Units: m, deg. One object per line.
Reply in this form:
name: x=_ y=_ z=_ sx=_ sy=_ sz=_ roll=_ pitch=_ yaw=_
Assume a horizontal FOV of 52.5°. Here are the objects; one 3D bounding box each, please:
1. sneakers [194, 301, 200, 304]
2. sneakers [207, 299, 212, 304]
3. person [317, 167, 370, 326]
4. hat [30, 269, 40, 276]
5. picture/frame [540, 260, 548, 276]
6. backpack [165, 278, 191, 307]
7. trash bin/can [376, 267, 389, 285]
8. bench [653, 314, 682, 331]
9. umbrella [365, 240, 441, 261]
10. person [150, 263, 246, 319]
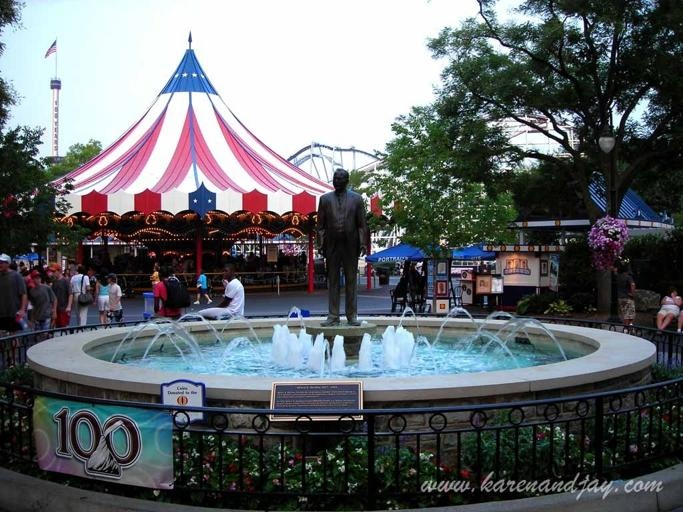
sneakers: x=-5.806 y=1.870 z=27.871 sx=0.130 sy=0.154 sz=0.343 roll=0 pitch=3 yaw=-37
sneakers: x=-5.459 y=1.878 z=28.687 sx=0.091 sy=0.182 sz=0.185 roll=-5 pitch=-42 yaw=-1
person: x=0.025 y=-0.152 z=12.116 sx=0.863 sy=2.711 sz=0.958 roll=-2 pitch=-2 yaw=2
hat: x=-6.088 y=0.333 z=13.824 sx=0.156 sy=0.087 sz=0.218 roll=0 pitch=3 yaw=-36
picture/frame: x=7.419 y=0.412 z=25.408 sx=0.392 sy=0.567 sz=0.124 roll=-1 pitch=-2 yaw=-28
backpack: x=-3.069 y=0.673 z=13.076 sx=0.235 sy=0.613 sz=0.484 roll=-3 pitch=-2 yaw=36
trash bin/can: x=2.807 y=1.352 z=47.269 sx=0.911 sy=1.749 sz=0.991 roll=1 pitch=-3 yaw=3
bench: x=8.209 y=1.670 z=17.494 sx=0.664 sy=0.290 sz=1.133 roll=-3 pitch=6 yaw=25
umbrella: x=2.266 y=-0.175 z=28.363 sx=0.855 sy=0.696 sz=3.223 roll=-1 pitch=-2 yaw=-25
person: x=-2.751 y=0.693 z=13.511 sx=1.692 sy=0.974 sz=1.009 roll=1 pitch=-5 yaw=-8
